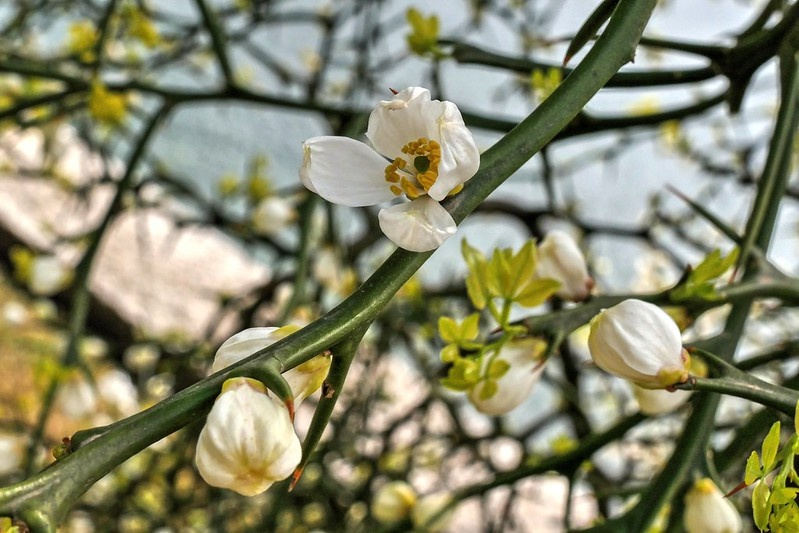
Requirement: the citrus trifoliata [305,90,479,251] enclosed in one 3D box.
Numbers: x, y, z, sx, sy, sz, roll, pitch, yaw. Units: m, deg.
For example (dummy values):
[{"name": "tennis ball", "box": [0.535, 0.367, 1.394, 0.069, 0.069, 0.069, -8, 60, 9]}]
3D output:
[{"name": "citrus trifoliata", "box": [-0.015, -0.158, 1.584, 0.263, 0.200, 0.163, 11, -49, -7]}]
